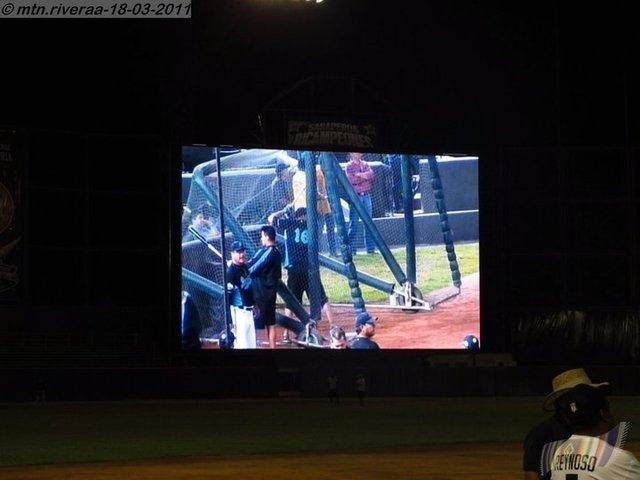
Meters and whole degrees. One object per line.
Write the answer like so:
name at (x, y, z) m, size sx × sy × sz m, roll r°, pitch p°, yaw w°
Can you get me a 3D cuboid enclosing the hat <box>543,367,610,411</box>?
hat at (5.234, 3.097, 16.977) m, size 1.179 × 0.947 × 0.839 m, roll 4°, pitch 0°, yaw -44°
